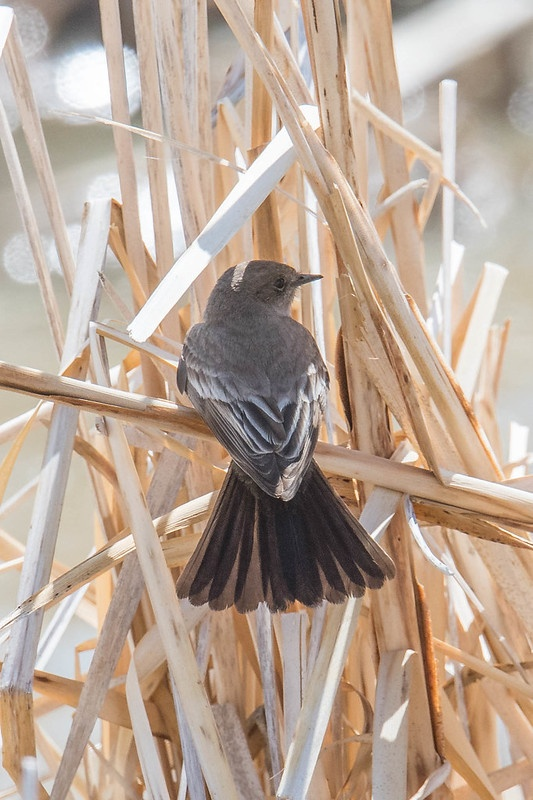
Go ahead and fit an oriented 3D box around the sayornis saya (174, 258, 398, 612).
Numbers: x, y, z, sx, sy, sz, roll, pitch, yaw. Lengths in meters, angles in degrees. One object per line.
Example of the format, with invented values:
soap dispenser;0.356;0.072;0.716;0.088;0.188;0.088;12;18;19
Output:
sayornis saya;0.003;0.097;2.337;0.395;0.389;0.960;-4;43;-5
